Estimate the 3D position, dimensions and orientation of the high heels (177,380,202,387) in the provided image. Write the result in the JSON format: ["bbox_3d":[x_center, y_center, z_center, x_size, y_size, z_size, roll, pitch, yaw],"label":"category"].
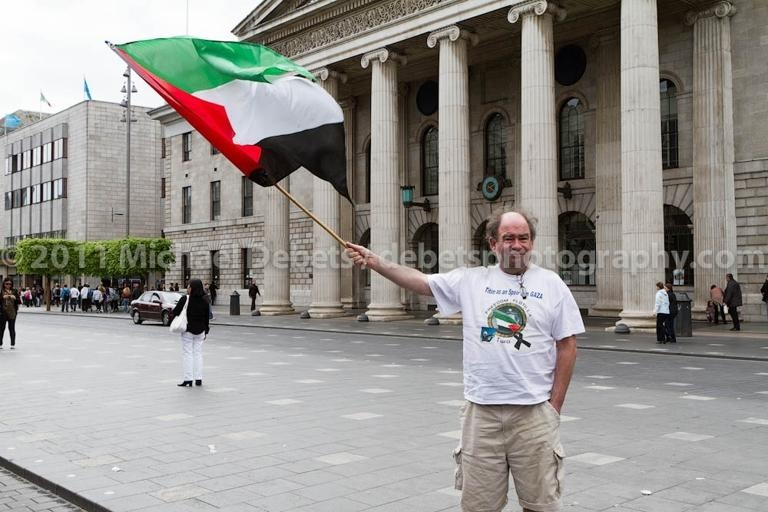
[{"bbox_3d":[-4.023,2.628,15.246,0.563,0.221,0.168,4,-5,-13],"label":"high heels"}]

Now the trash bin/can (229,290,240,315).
[{"bbox_3d":[-7.802,2.475,38.317,0.474,1.147,1.333,0,-4,-13],"label":"trash bin/can"}]

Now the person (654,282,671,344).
[{"bbox_3d":[8.216,1.764,21.664,0.384,1.553,0.785,-3,-4,21],"label":"person"}]

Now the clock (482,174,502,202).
[{"bbox_3d":[5.194,-3.291,35.383,1.331,1.484,0.197,4,5,43],"label":"clock"}]

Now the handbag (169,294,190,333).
[{"bbox_3d":[-4.238,1.213,15.245,0.326,0.750,0.497,0,-4,-14],"label":"handbag"}]

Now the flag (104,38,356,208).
[{"bbox_3d":[-1.925,-2.137,10.445,3.109,2.537,1.476,-3,-5,29],"label":"flag"}]

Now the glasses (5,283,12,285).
[{"bbox_3d":[-11.659,0.847,22.783,0.185,0.060,0.179,-9,-8,35],"label":"glasses"}]
